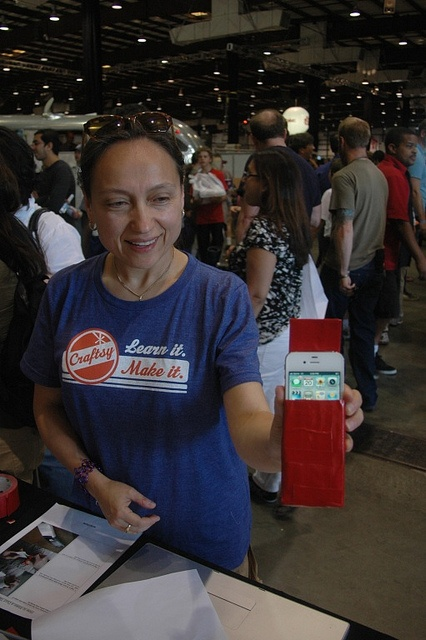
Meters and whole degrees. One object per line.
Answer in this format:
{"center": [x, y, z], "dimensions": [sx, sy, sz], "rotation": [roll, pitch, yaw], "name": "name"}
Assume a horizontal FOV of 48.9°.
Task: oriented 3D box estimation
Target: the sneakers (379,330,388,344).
{"center": [1.759, 0.182, 4.838], "dimensions": [0.092, 0.112, 0.270], "rotation": [-8, -9, 22], "name": "sneakers"}

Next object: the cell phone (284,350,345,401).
{"center": [0.121, 0.065, 0.558], "dimensions": [0.060, 0.060, 0.007], "rotation": [-2, 2, 2], "name": "cell phone"}

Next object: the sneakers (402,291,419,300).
{"center": [2.714, -0.337, 6.482], "dimensions": [0.097, 0.107, 0.277], "rotation": [-6, 8, -25], "name": "sneakers"}

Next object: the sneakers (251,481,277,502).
{"center": [0.265, 0.870, 2.455], "dimensions": [0.124, 0.115, 0.068], "rotation": [7, 10, 36], "name": "sneakers"}

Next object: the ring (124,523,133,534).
{"center": [-0.153, 0.375, 0.853], "dimensions": [0.004, 0.018, 0.018], "rotation": [7, 42, 23], "name": "ring"}
